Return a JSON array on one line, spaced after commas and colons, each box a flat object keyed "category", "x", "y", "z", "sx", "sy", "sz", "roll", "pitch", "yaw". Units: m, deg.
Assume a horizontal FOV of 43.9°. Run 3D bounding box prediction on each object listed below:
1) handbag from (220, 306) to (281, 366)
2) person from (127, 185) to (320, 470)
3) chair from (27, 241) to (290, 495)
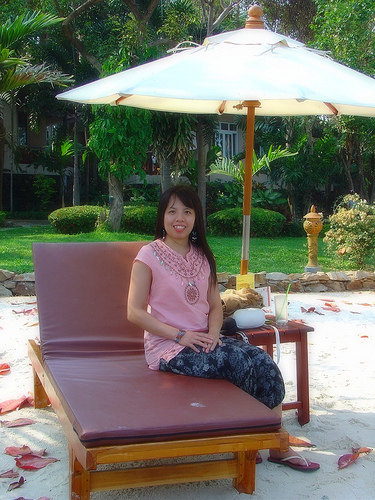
[{"category": "handbag", "x": 0.421, "y": 0.482, "z": 2.511, "sx": 0.327, "sy": 0.293, "sz": 0.404, "roll": -5, "pitch": -8, "yaw": -9}, {"category": "person", "x": 0.166, "y": 0.315, "z": 2.102, "sx": 0.492, "sy": 1.150, "sz": 0.958, "roll": -6, "pitch": 9, "yaw": -44}, {"category": "chair", "x": -0.295, "y": 0.427, "z": 2.170, "sx": 0.805, "sy": 0.882, "sz": 1.562, "roll": -1, "pitch": 2, "yaw": -22}]
